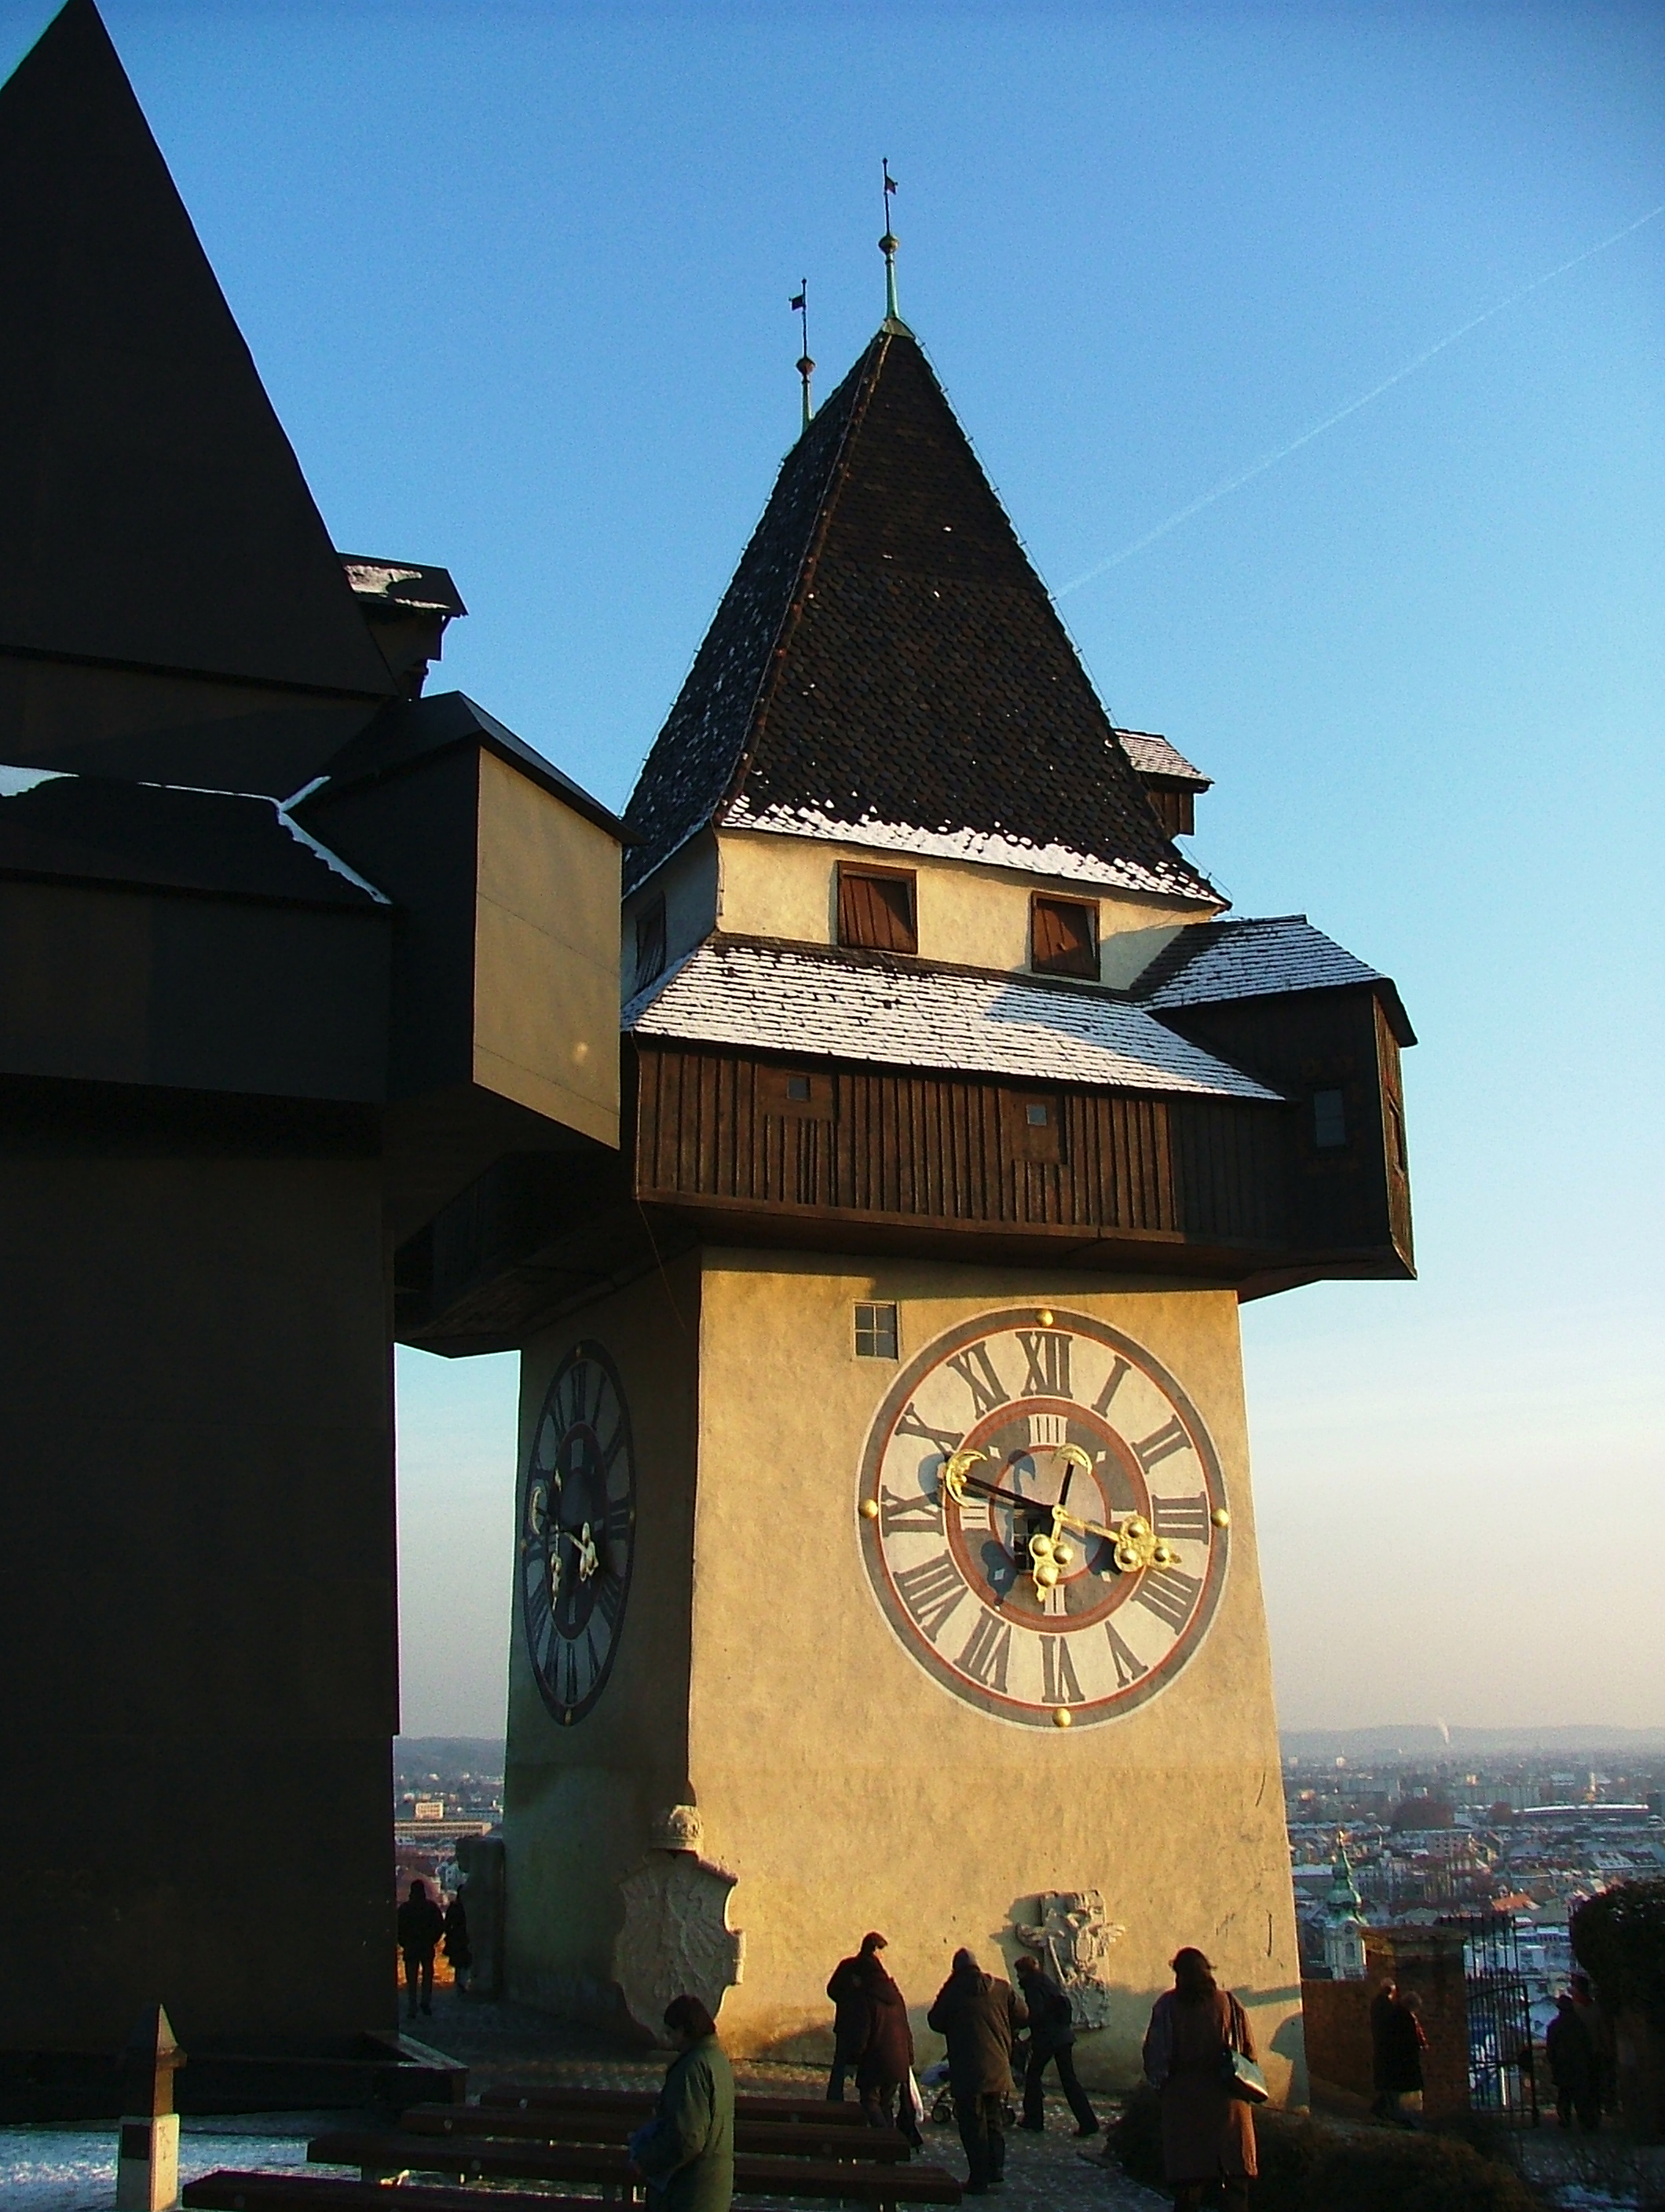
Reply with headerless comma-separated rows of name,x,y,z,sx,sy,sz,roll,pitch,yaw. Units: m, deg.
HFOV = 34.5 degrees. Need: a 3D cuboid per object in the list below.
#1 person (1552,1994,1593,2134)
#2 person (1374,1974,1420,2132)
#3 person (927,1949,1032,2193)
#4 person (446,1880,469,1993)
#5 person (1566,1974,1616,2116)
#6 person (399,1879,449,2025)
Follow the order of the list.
person,6.250,8.172,22.740,0.384,1.032,1.688,-5,-15,13
person,4.404,7.450,21.064,0.350,0.951,1.371,-4,-14,10
person,0.805,5.641,15.697,0.442,1.309,1.073,-2,-13,1
person,-3.399,7.482,24.084,0.211,0.938,0.751,0,-13,-9
person,6.541,8.053,23.199,0.490,0.986,0.950,-5,-14,36
person,-3.651,7.368,23.515,0.361,1.271,0.325,0,8,-12
